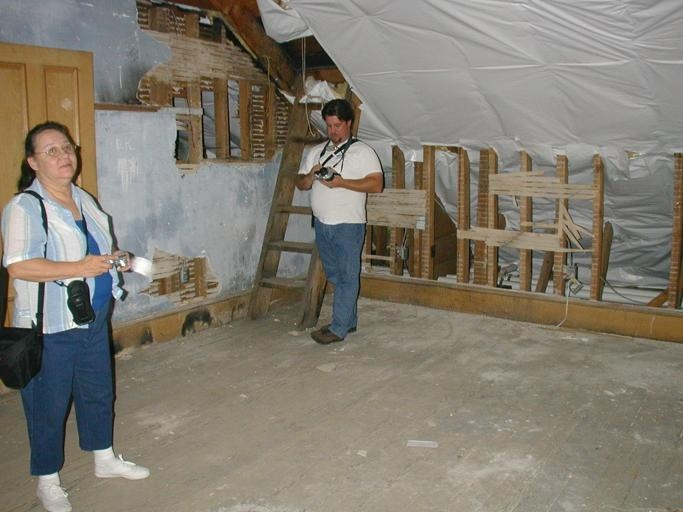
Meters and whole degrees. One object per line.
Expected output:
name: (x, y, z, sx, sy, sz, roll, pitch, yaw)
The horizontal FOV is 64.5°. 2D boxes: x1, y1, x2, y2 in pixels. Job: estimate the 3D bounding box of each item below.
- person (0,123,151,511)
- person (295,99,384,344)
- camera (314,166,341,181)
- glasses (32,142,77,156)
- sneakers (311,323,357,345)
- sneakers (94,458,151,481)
person: (-1.200, 0.270, 2.446, 0.517, 1.715, 0.360, -2, 7, -26)
person: (-0.020, -0.269, 4.130, 0.656, 1.827, 0.491, 2, 7, 11)
camera: (-0.105, -0.591, 3.914, 0.180, 0.102, 0.110, 1, 7, 3)
glasses: (-1.238, -0.461, 2.344, 0.157, 0.064, 0.068, -5, 9, -40)
sneakers: (-0.090, 0.590, 4.099, 0.272, 0.084, 0.111, -8, 31, -32)
sneakers: (-1.055, 1.021, 2.642, 0.265, 0.113, 0.108, 4, -2, -12)
